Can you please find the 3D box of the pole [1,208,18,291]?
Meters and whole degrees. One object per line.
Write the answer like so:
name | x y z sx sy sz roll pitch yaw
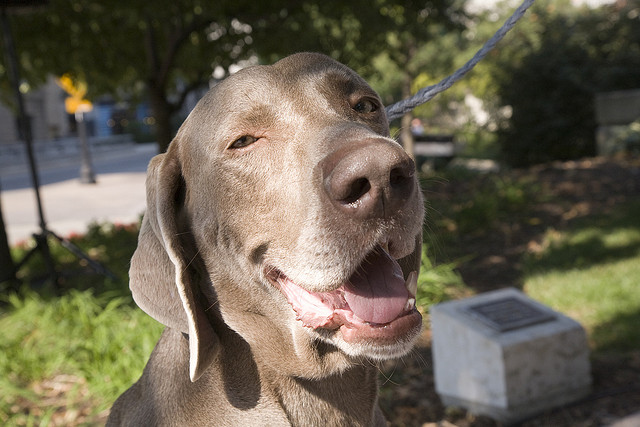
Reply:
pole | -4.643 0.570 9.952 0.094 1.398 0.230 -10 -9 8
